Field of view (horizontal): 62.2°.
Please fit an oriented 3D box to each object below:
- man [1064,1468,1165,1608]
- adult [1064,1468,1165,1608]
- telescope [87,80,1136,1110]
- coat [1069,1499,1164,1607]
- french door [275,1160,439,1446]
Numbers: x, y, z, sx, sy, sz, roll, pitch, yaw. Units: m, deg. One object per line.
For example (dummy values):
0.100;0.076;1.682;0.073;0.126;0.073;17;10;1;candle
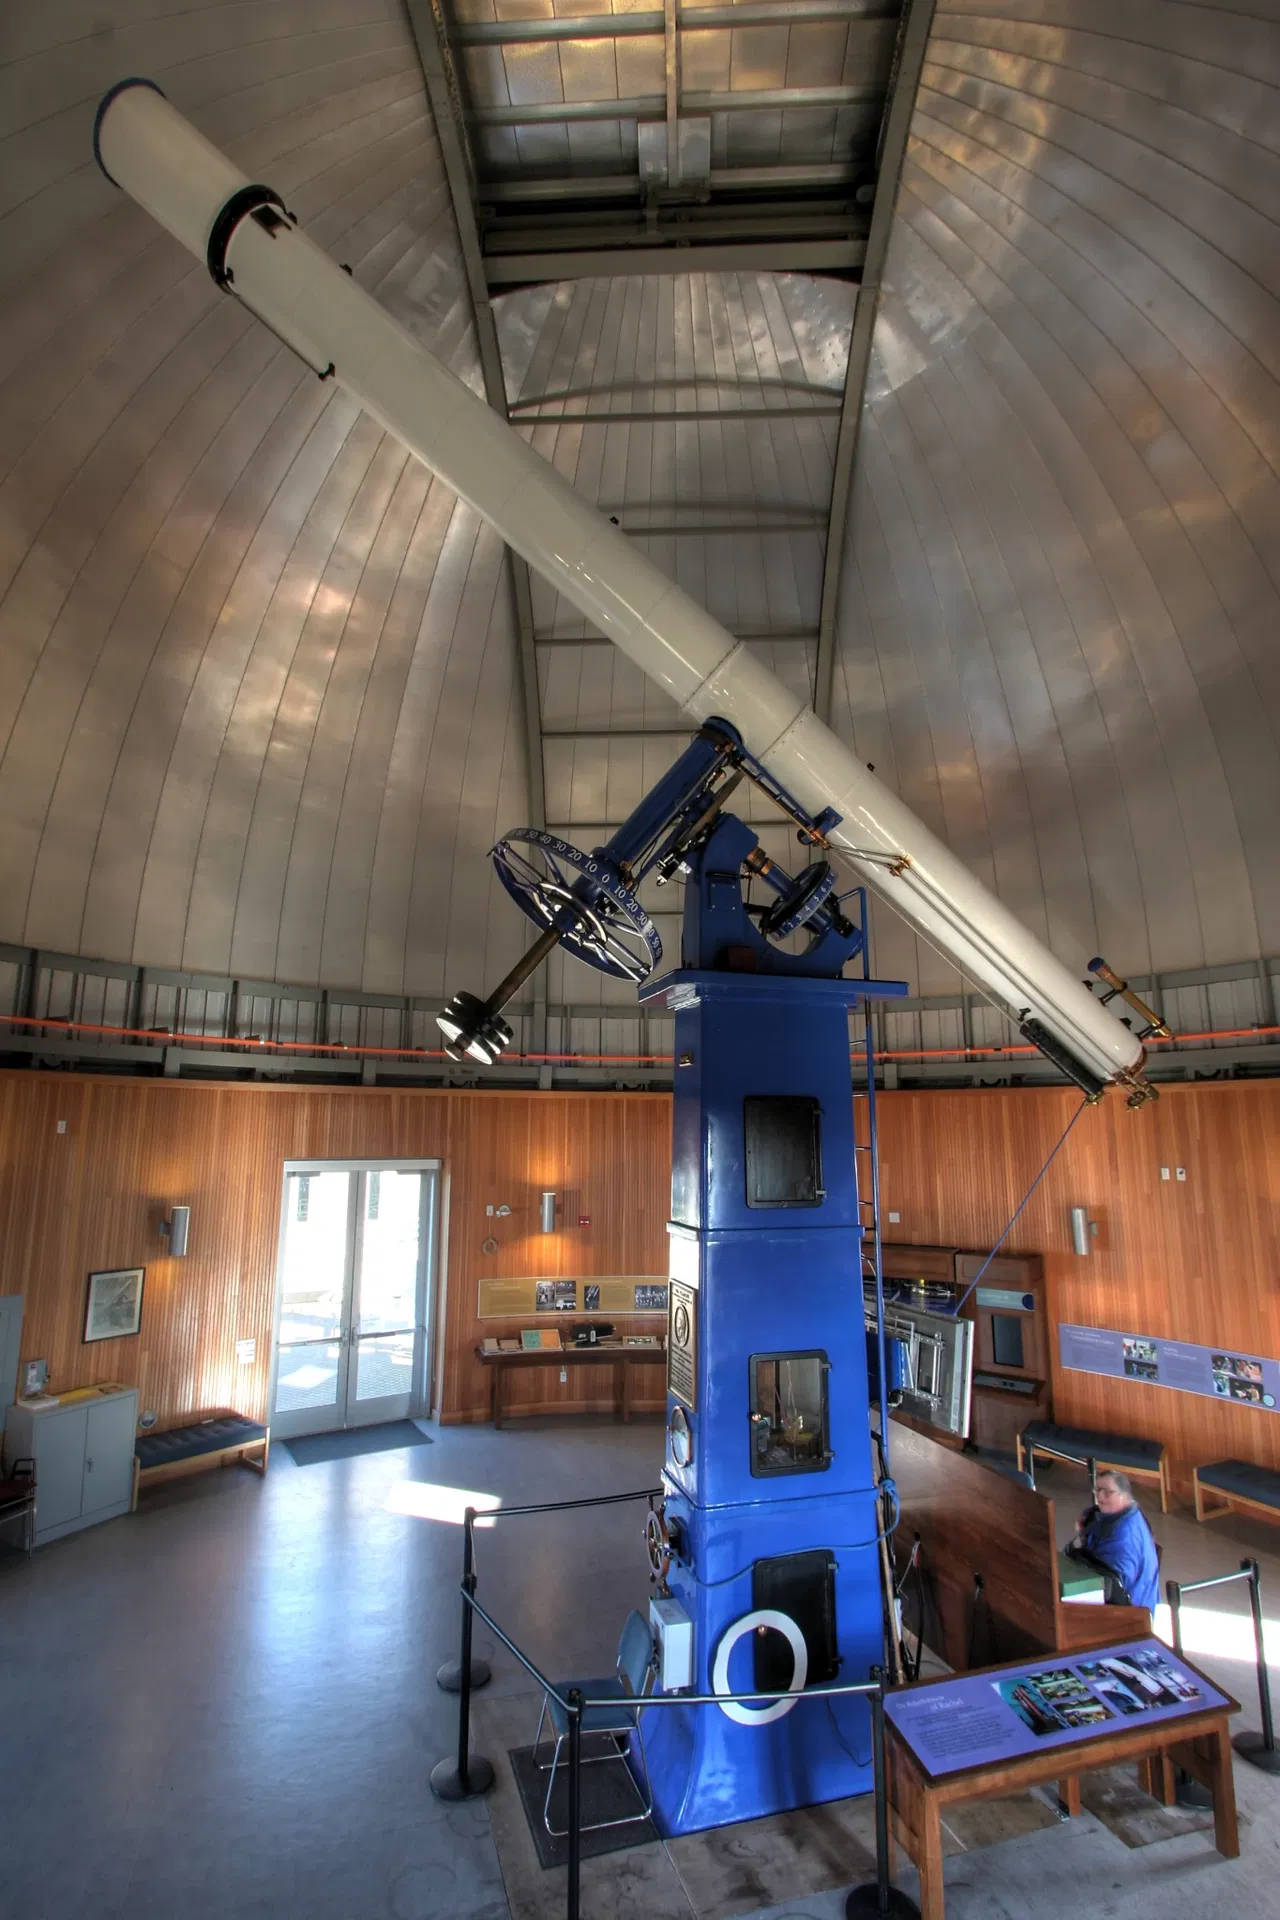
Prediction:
2.657;3.223;5.979;0.327;0.658;0.484;-1;3;-7;man
2.649;3.177;5.999;0.336;0.669;0.486;-6;14;-12;adult
-3.501;-6.196;9.901;2.344;19.433;2.396;-31;-40;-7;telescope
2.619;3.289;5.925;0.440;0.530;0.356;-6;-14;25;coat
-3.161;3.677;11.741;1.900;2.813;0.410;11;-16;-39;french door
